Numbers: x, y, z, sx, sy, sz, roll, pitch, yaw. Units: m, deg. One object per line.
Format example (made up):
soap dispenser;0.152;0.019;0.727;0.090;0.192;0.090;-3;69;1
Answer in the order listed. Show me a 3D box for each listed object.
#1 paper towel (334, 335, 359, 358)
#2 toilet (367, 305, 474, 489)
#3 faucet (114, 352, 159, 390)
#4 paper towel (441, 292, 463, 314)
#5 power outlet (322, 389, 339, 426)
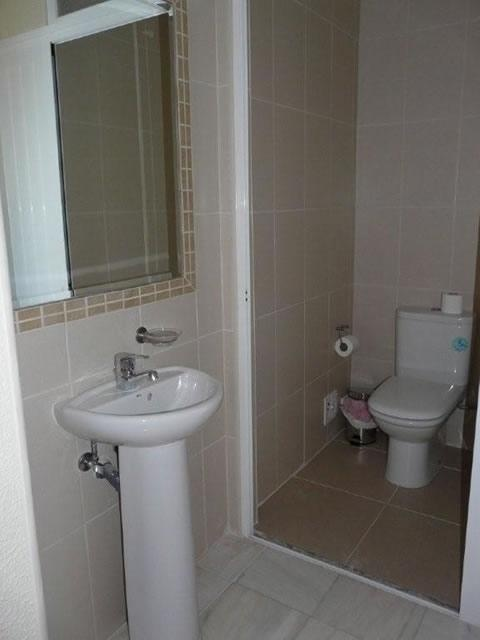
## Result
paper towel;0.582;0.144;2.763;0.102;0.129;0.128;2;-1;26
toilet;0.903;0.357;2.552;0.435;0.937;0.487;6;14;30
faucet;-0.313;0.150;1.535;0.121;0.122;0.089;0;2;19
paper towel;1.064;-0.083;2.544;0.084;0.109;0.082;-3;5;-39
power outlet;0.491;0.475;2.761;0.041;0.211;0.150;6;14;30
